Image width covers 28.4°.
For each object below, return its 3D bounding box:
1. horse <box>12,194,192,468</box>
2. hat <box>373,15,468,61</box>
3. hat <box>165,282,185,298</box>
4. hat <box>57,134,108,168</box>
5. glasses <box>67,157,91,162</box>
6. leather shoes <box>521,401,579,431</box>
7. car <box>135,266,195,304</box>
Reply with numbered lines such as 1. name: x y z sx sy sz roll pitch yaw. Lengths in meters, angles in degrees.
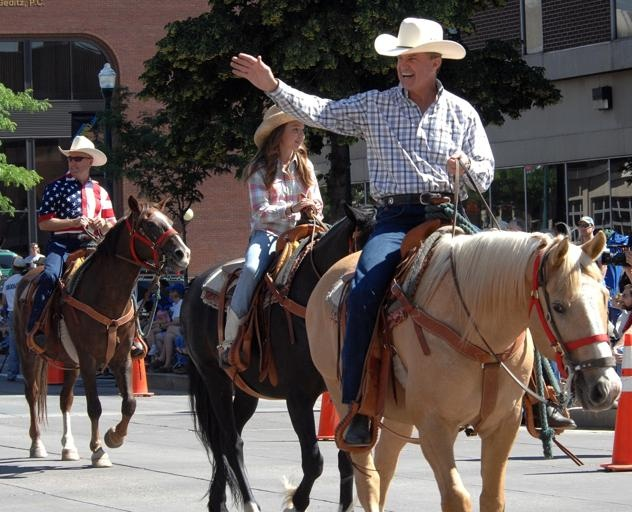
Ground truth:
1. horse: -2.931 0.909 16.195 1.181 3.389 2.949 -2 3 -43
2. hat: 0.916 -1.957 11.258 0.533 0.212 0.538 -9 11 -42
3. hat: -2.604 0.583 23.330 0.326 0.235 0.462 1 16 -34
4. hat: -3.027 -1.478 16.810 0.544 0.221 0.600 -16 -36 38
5. glasses: -3.166 -1.310 16.593 0.276 0.077 0.172 0 2 6
6. leather shoes: 2.168 1.453 11.471 0.622 0.249 0.207 1 -3 -3
7. car: -3.411 0.487 27.034 1.192 0.605 1.519 -1 5 -1
